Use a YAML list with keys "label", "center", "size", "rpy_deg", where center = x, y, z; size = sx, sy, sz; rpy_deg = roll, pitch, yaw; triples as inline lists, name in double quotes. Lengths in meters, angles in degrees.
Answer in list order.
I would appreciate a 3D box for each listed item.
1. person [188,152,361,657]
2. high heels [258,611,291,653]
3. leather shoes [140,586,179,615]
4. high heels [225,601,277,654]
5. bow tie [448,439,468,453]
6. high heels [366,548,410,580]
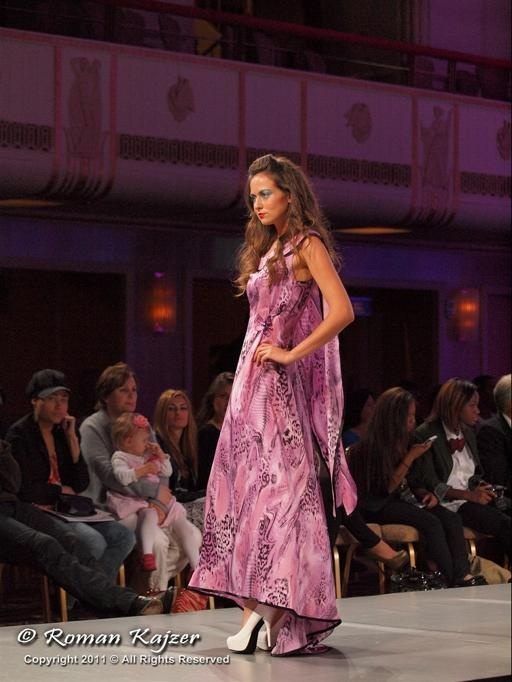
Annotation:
- label: "person"
  center: [0.038, 0.173, 2.315]
  size: [0.465, 1.354, 0.381]
  rpy_deg: [-2, -8, 4]
- label: "high heels"
  center: [0.041, 0.782, 2.281]
  size: [0.068, 0.154, 0.056]
  rpy_deg: [3, 12, -32]
- label: "leather shoes"
  center: [-0.367, 1.004, 3.266]
  size: [0.093, 0.045, 0.121]
  rpy_deg: [0, -1, 3]
- label: "high heels"
  center: [-0.011, 0.776, 2.303]
  size: [0.134, 0.145, 0.246]
  rpy_deg: [-1, -7, -2]
- label: "bow tie"
  center: [1.002, 0.516, 4.152]
  size: [0.083, 0.056, 0.014]
  rpy_deg: [-5, 8, -39]
- label: "high heels"
  center: [0.623, 1.004, 3.828]
  size: [0.247, 0.086, 0.082]
  rpy_deg: [7, 18, 27]
